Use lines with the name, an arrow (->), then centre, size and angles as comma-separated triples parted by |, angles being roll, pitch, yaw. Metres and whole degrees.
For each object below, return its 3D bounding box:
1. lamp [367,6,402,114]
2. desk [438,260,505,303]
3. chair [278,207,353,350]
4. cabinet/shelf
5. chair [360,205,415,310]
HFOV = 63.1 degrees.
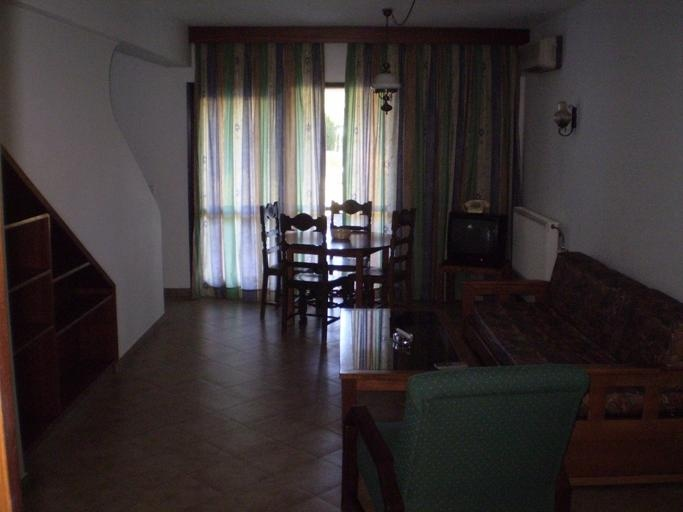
lamp -> 0.460, -1.999, 5.841 | 0.301, 0.995, 0.965 | 1, 13, 5
desk -> 1.395, 0.219, 6.230 | 0.708, 0.557, 0.414 | 1, 3, 12
chair -> -0.285, 0.161, 5.571 | 0.566, 1.205, 0.681 | 4, 6, 24
cabinet/shelf -> -1.916, 0.423, 3.476 | 0.291, 1.324, 0.361 | -7, 14, -29
chair -> 0.436, 0.060, 5.957 | 0.569, 1.157, 0.608 | 4, 8, 23
